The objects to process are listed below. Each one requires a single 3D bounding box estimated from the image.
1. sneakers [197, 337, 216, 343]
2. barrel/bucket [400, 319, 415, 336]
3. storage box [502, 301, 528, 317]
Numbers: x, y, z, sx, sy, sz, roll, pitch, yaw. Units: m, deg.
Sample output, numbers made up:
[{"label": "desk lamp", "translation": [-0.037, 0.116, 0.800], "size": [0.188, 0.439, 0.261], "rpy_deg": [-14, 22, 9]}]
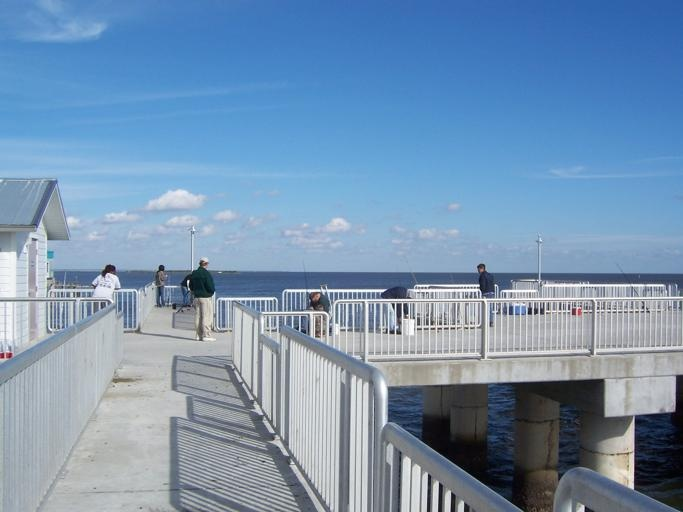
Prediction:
[{"label": "sneakers", "translation": [-3.496, 2.151, 19.923], "size": [0.464, 0.198, 0.164], "rpy_deg": [-1, 1, 8]}, {"label": "barrel/bucket", "translation": [1.560, 1.642, 17.702], "size": [0.256, 0.375, 0.879], "rpy_deg": [1, 0, 9]}, {"label": "storage box", "translation": [5.034, 1.536, 22.376], "size": [0.500, 0.410, 4.375], "rpy_deg": [1, 0, 15]}]
